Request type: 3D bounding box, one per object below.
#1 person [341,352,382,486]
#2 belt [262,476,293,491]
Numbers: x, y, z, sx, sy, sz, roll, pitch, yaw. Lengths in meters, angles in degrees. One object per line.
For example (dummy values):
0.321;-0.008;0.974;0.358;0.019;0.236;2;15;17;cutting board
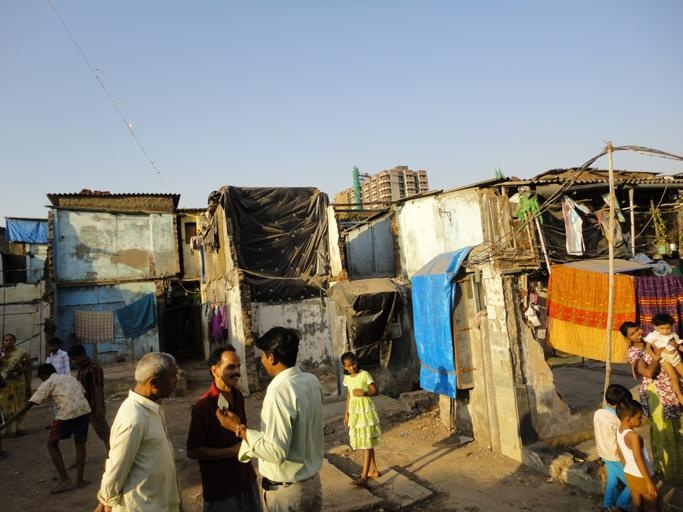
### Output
0.321;2.548;8.382;0.519;2.003;0.650;-4;4;-5;person
-0.712;2.431;5.619;0.205;0.054;0.201;8;-9;-33;belt
